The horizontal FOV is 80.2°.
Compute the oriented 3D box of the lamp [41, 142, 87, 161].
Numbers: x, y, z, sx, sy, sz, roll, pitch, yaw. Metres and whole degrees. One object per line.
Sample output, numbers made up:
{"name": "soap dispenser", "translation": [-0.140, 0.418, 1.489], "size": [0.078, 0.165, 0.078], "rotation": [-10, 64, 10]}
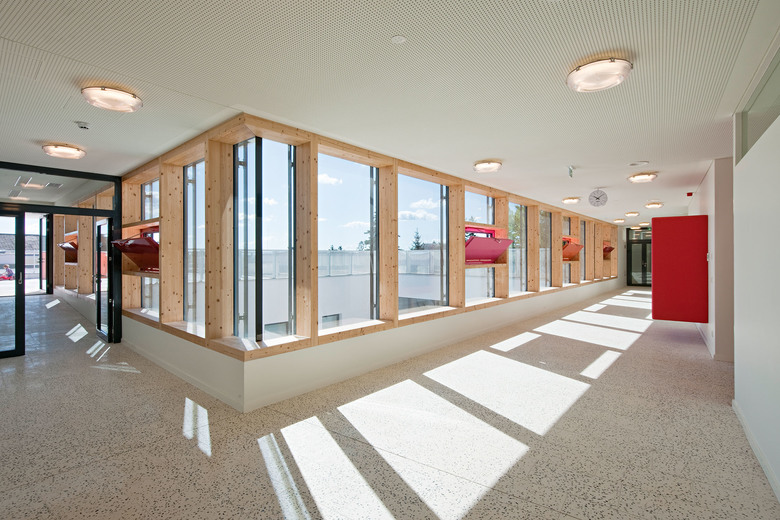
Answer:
{"name": "lamp", "translation": [-4.273, -1.440, 6.033], "size": [0.461, 0.141, 0.352], "rotation": [-4, 6, -39]}

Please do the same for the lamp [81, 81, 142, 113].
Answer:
{"name": "lamp", "translation": [-2.802, -1.646, 4.642], "size": [0.519, 0.190, 0.265], "rotation": [-3, 6, -32]}

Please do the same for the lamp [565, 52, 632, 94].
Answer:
{"name": "lamp", "translation": [1.950, -1.751, 4.292], "size": [0.557, 0.255, 0.267], "rotation": [2, 6, 19]}

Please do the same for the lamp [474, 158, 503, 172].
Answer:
{"name": "lamp", "translation": [1.519, -1.440, 7.020], "size": [0.430, 0.134, 0.603], "rotation": [3, 6, 31]}

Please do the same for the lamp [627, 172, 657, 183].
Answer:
{"name": "lamp", "translation": [4.161, -1.364, 7.602], "size": [0.240, 0.054, 0.186], "rotation": [-9, -17, 41]}
